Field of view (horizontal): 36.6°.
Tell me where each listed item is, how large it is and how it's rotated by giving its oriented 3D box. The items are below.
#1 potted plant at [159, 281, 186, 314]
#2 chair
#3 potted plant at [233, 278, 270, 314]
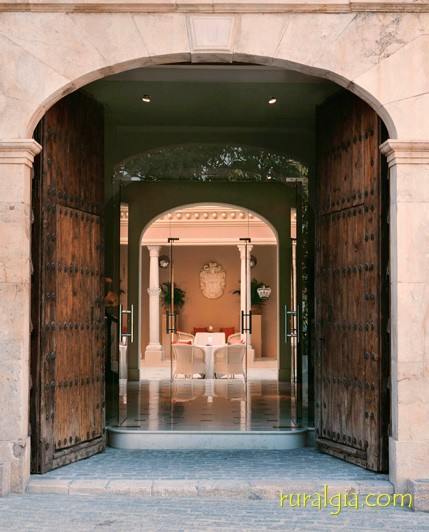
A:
[{"bbox_3d":[-0.915,0.625,14.618,0.575,0.898,0.821,-3,-8,4],"label":"potted plant"},{"bbox_3d":[-0.093,1.395,10.098,0.828,0.571,1.068,0,-1,5],"label":"chair"},{"bbox_3d":[0.866,0.736,15.128,0.651,0.788,0.696,-2,-5,37],"label":"potted plant"}]
